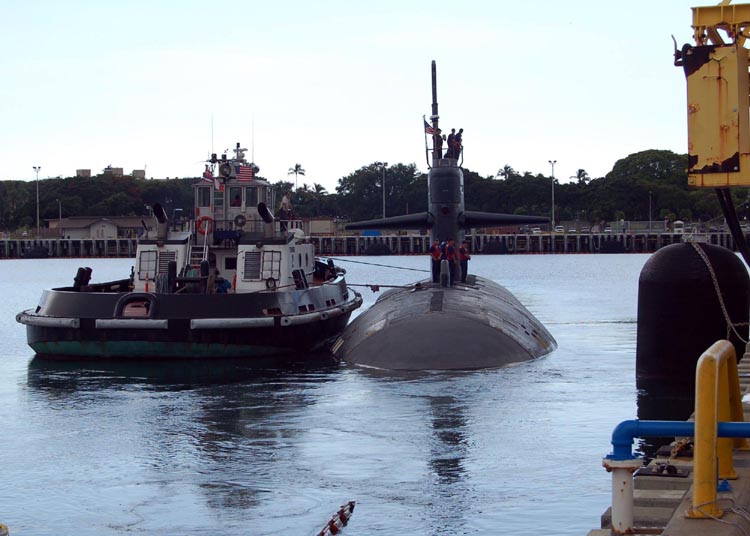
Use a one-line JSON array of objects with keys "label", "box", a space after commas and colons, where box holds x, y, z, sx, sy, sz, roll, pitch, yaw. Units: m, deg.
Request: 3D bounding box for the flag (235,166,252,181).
[{"label": "flag", "box": [-3.998, -2.890, 36.340, 0.620, 0.461, 0.026, 3, 14, -21]}]
